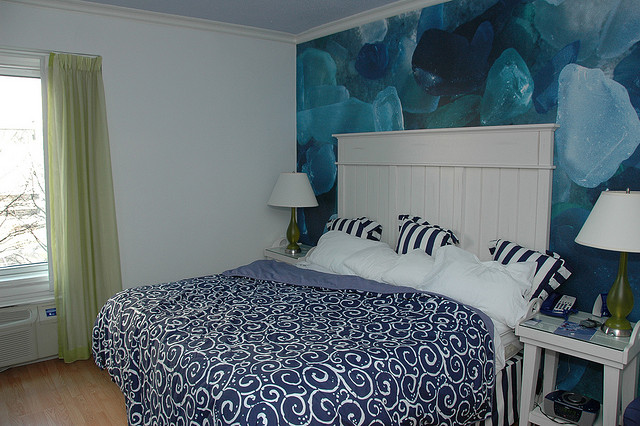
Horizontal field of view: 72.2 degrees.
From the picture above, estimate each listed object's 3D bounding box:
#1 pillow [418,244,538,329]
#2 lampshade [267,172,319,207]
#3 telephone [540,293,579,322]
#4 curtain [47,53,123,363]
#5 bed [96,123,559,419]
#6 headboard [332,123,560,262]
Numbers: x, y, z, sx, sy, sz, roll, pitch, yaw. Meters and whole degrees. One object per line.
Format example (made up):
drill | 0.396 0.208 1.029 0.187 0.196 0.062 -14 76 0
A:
pillow | 1.227 0.510 3.261 0.769 0.280 0.503 15 40 37
lampshade | -0.296 -0.240 4.680 0.400 0.399 0.400 0 9 -1
telephone | 1.773 0.681 3.230 0.213 0.119 0.246 10 14 41
curtain | -2.220 -0.027 4.062 0.575 2.801 0.385 -6 12 -29
bed | 0.178 0.362 3.305 2.815 2.061 2.089 -7 13 -37
headboard | 1.144 -0.163 3.786 1.274 0.932 0.090 5 7 42
